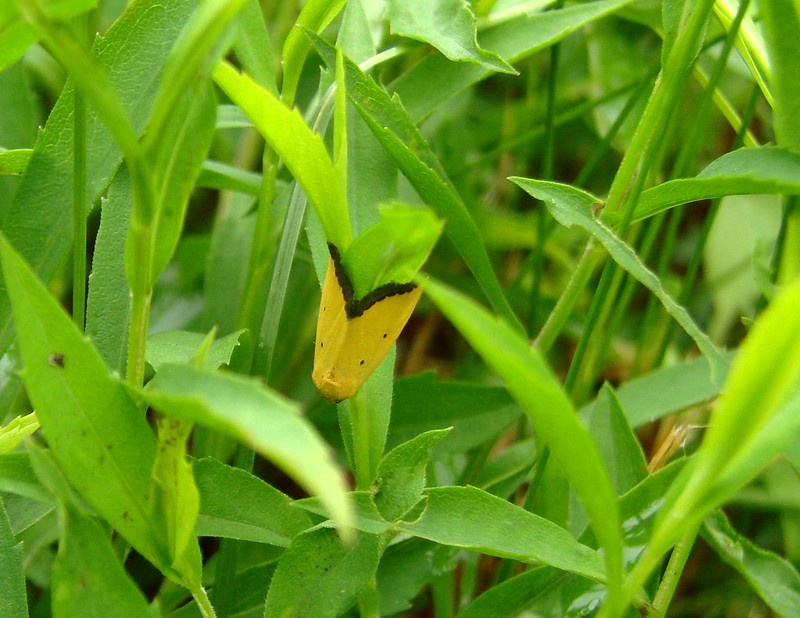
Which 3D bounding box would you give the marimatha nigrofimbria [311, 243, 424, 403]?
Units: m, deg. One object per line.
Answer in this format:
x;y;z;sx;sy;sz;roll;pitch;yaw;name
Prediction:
-0.009;0.006;0.311;0.014;0.049;0.045;13;11;-40;marimatha nigrofimbria
